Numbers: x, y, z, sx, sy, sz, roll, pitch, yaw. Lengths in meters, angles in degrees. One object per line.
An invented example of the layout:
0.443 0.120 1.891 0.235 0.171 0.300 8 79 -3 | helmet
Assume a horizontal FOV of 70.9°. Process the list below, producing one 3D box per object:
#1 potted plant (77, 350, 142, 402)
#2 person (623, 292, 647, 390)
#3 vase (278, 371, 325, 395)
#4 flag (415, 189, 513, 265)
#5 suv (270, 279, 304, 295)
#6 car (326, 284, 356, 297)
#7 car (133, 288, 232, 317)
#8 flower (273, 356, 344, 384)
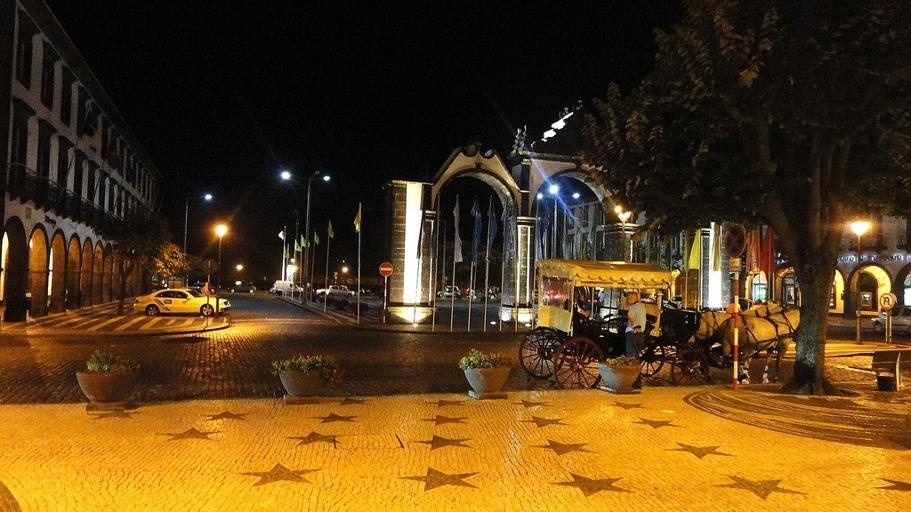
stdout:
-9.154 3.215 16.949 1.251 1.484 0.532 2 -1 -11 | potted plant
5.682 2.440 20.141 1.044 2.583 0.891 0 -1 -18 | person
-4.196 3.470 17.507 0.837 0.376 0.816 -2 -7 10 | vase
0.566 -1.607 47.453 7.766 6.241 0.708 2 -14 -9 | flag
-22.946 4.296 87.654 2.920 1.401 2.159 -5 -5 25 | suv
-14.439 4.394 81.023 3.094 1.415 1.789 -2 0 -9 | car
-17.989 3.221 42.459 5.990 1.953 2.336 0 -1 -10 | car
-3.827 3.096 17.988 1.471 0.769 1.455 -1 -7 19 | flower
